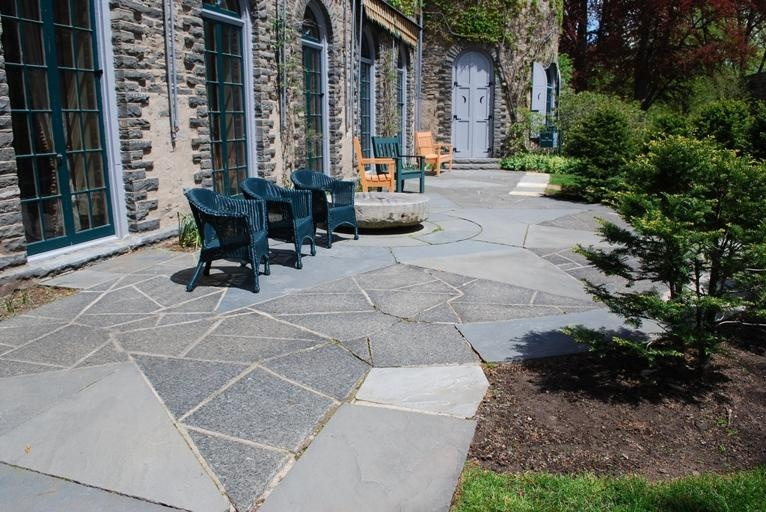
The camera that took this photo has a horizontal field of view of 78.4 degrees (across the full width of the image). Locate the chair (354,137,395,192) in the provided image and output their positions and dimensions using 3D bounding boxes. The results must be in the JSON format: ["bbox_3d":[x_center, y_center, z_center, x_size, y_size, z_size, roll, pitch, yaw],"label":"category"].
[{"bbox_3d":[-0.001,-2.064,11.097,0.955,1.096,0.876,-29,16,-6],"label":"chair"}]

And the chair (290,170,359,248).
[{"bbox_3d":[-0.903,-0.784,7.240,0.873,1.001,0.961,15,22,40],"label":"chair"}]

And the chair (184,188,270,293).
[{"bbox_3d":[-1.815,-0.257,5.530,0.938,0.954,0.949,7,17,9],"label":"chair"}]

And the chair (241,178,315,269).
[{"bbox_3d":[-1.425,-0.522,6.443,0.985,1.009,0.999,13,18,28],"label":"chair"}]
